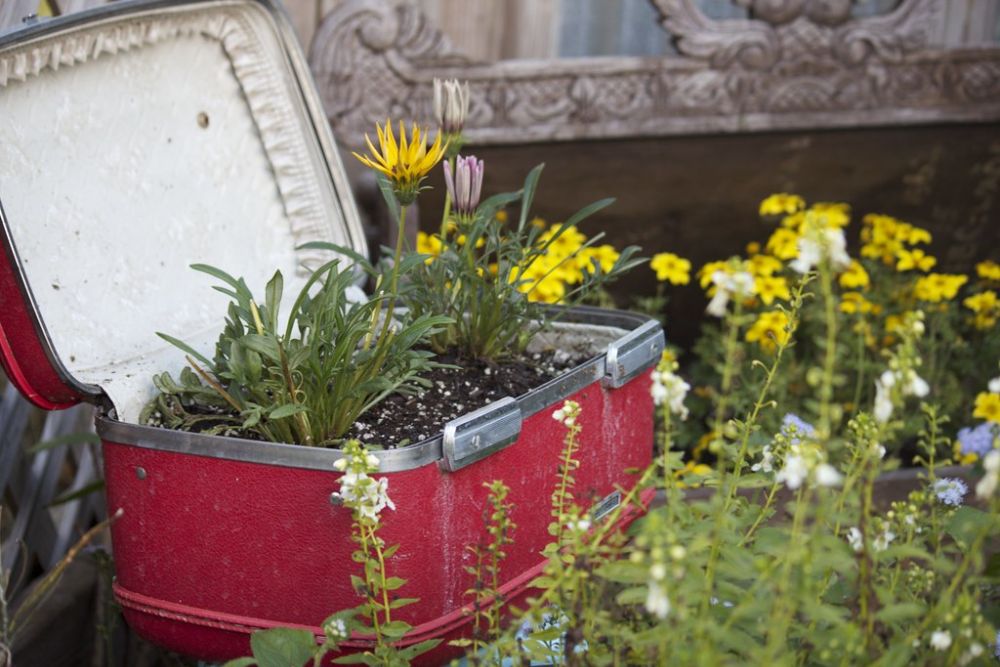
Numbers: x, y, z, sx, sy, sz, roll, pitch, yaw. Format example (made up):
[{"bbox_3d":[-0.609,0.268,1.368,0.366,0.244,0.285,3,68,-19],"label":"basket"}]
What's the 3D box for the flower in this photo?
[{"bbox_3d":[-0.155,-0.151,2.770,0.671,0.461,0.997,32,36,25],"label":"flower"}]
